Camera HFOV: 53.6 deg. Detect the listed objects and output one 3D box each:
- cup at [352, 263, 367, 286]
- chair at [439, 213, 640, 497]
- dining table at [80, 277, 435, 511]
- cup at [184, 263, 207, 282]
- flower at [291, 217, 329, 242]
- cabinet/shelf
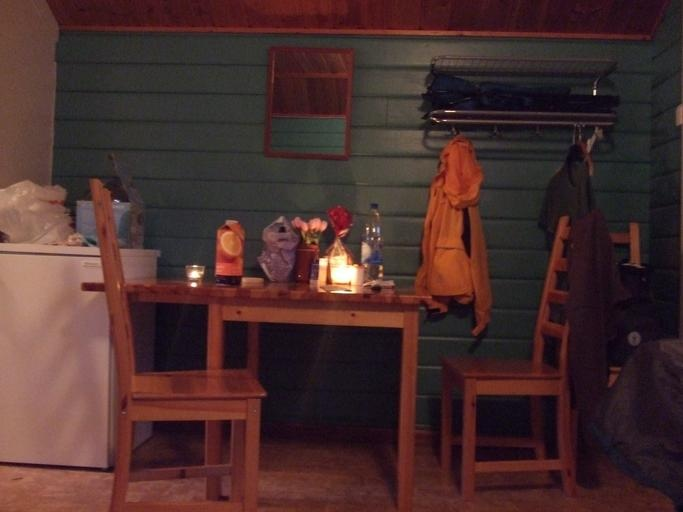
[{"bbox_3d":[0.101,0.116,3.741,0.091,0.108,0.094,1,1,0],"label":"cup"},{"bbox_3d":[1.292,0.562,4.963,1.311,2.858,1.453,2,-1,3],"label":"chair"},{"bbox_3d":[-0.162,0.852,3.993,1.343,0.889,1.326,0,-4,4],"label":"dining table"},{"bbox_3d":[-0.809,0.091,3.745,0.107,0.088,0.100,0,2,0],"label":"cup"},{"bbox_3d":[-0.185,-0.147,4.008,0.171,0.124,0.161,-7,-8,25],"label":"flower"},{"bbox_3d":[1.118,-0.935,4.151,1.231,0.618,0.217,3,0,1],"label":"cabinet/shelf"}]
